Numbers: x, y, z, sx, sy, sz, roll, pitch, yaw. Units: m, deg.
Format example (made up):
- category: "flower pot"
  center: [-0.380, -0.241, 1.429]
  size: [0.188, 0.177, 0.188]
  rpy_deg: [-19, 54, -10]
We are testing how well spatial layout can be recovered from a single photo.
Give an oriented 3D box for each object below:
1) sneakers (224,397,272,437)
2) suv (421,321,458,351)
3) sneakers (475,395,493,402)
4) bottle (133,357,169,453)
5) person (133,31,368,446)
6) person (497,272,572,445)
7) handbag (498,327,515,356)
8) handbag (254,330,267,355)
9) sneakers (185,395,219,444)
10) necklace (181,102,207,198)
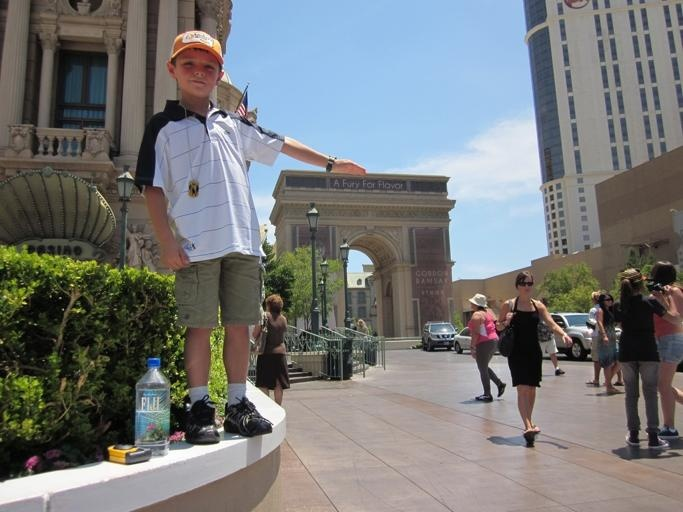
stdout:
- category: "sneakers"
  center: [-0.660, 1.112, 3.724]
  size: [0.236, 0.229, 0.384]
  rpy_deg: [2, -8, -31]
- category: "suv"
  center: [6.679, 5.472, 36.741]
  size: [2.113, 1.851, 3.215]
  rpy_deg: [-4, -7, 9]
- category: "sneakers"
  center: [2.749, 2.741, 10.398]
  size: [0.366, 0.159, 0.128]
  rpy_deg: [-2, -10, 25]
- category: "bottle"
  center: [-1.196, 0.926, 3.374]
  size: [0.201, 0.553, 0.396]
  rpy_deg: [0, -7, -21]
- category: "person"
  center: [-0.888, -0.240, 3.992]
  size: [1.213, 2.995, 0.731]
  rpy_deg: [1, -7, -24]
- category: "person"
  center: [2.488, 1.285, 7.240]
  size: [0.953, 2.194, 0.670]
  rpy_deg: [2, -8, -33]
- category: "handbag"
  center: [2.269, 1.155, 7.323]
  size: [0.119, 0.342, 0.301]
  rpy_deg: [15, -32, 20]
- category: "handbag"
  center: [-1.358, 1.420, 8.943]
  size: [0.142, 0.461, 0.323]
  rpy_deg: [14, -25, -21]
- category: "sneakers"
  center: [-0.934, 1.079, 3.563]
  size: [0.204, 0.263, 0.398]
  rpy_deg: [0, -7, -18]
- category: "necklace"
  center: [-1.063, -0.743, 3.966]
  size: [0.068, 0.633, 0.160]
  rpy_deg: [-7, -8, 33]
